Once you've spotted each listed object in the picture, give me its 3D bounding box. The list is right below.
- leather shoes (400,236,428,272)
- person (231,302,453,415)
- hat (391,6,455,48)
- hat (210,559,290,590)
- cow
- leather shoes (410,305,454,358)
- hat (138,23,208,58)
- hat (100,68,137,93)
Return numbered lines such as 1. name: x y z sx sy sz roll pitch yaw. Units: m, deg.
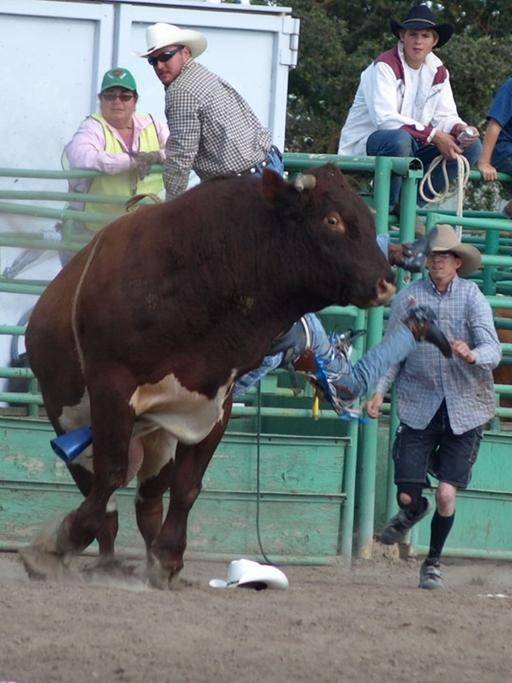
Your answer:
1. leather shoes: 0.636 -0.358 4.198 0.101 0.130 0.126 10 3 5
2. person: 0.369 0.054 4.562 0.826 0.323 0.515 -10 30 3
3. hat: 1.110 -2.055 6.744 0.337 0.136 0.354 10 -18 7
4. hat: -0.037 1.032 4.564 0.234 0.081 0.184 2 -6 -7
5. cow: -0.329 0.204 4.188 0.825 1.542 2.527 12 -8 -30
6. leather shoes: 0.719 -0.049 4.344 0.113 0.250 0.137 -44 4 0
7. hat: -0.392 -1.468 4.933 0.277 0.089 0.206 6 -33 -30
8. hat: -0.812 -1.541 6.154 0.154 0.090 0.190 0 -9 1
